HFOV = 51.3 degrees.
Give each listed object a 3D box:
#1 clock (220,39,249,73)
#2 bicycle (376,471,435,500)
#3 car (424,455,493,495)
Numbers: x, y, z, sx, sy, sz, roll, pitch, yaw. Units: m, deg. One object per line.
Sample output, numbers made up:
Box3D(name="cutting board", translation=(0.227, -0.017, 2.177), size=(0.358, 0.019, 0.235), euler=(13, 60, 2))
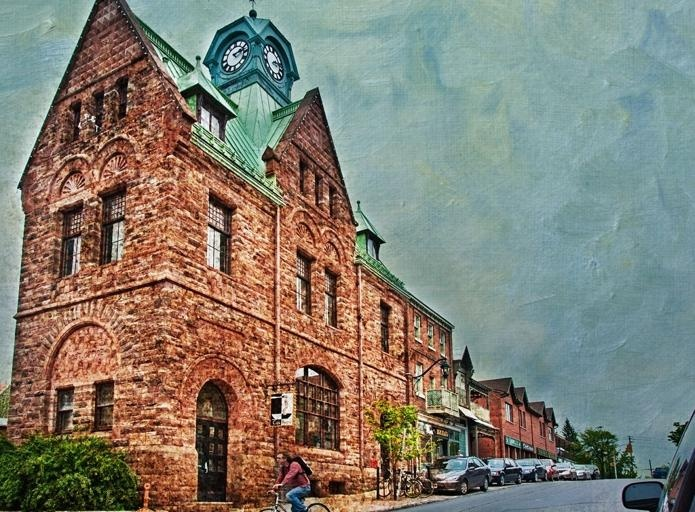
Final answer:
Box3D(name="clock", translation=(-5.724, -10.231, 37.154), size=(1.861, 1.858, 0.118), euler=(-43, -47, 18))
Box3D(name="bicycle", translation=(2.662, 10.368, 32.596), size=(2.372, 1.494, 1.242), euler=(-5, -33, 16))
Box3D(name="car", translation=(5.364, 10.385, 34.380), size=(1.449, 1.064, 3.227), euler=(-12, -26, 29))
